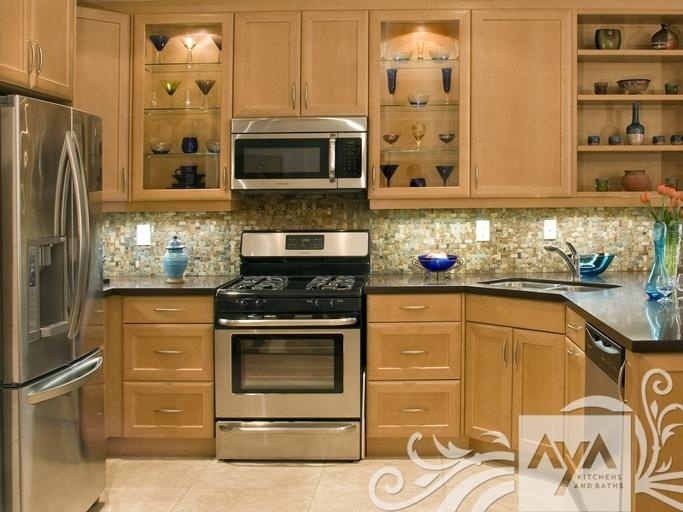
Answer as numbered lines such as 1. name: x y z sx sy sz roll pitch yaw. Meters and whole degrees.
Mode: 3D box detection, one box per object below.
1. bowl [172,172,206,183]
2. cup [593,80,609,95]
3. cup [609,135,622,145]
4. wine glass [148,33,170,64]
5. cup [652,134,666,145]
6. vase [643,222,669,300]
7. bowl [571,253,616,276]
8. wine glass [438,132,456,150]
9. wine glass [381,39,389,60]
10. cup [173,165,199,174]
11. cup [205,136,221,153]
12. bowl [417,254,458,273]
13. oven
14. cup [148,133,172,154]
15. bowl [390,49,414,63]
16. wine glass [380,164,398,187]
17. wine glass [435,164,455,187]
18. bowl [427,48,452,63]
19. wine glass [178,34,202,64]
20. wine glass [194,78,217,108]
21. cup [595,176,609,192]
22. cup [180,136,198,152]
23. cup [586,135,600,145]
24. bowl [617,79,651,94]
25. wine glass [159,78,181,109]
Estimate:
1. bowl: -0.986 -0.506 4.638 0.114 0.076 0.116 0 5 0
2. cup: 1.667 -1.083 4.656 0.108 0.083 0.097 2 2 0
3. cup: 1.769 -0.756 4.642 0.067 0.048 0.067 1 1 0
4. wine glass: -1.175 -1.372 4.739 0.166 0.185 0.157 -2 6 -1
5. cup: 2.053 -0.752 4.627 0.080 0.054 0.080 0 6 0
6. vase: 1.629 0.022 3.682 0.114 0.400 0.142 0 5 23
7. bowl: 1.599 0.058 4.552 0.251 0.141 0.129 -5 6 -29
8. wine glass: 0.687 -0.748 4.651 0.107 0.104 0.101 0 -3 12
9. wine glass: 0.283 -1.315 4.582 0.070 0.132 0.024 -3 5 -5
10. cup: -0.999 -0.563 4.656 0.093 0.057 0.057 -2 1 -10
11. cup: -0.827 -0.721 4.636 0.096 0.065 0.093 0 0 0
12. bowl: 0.625 0.043 4.614 0.264 0.124 0.165 -2 5 -1
13. oven: -0.240 0.739 4.504 0.966 0.623 0.664 -2 -6 14
14. cup: -1.168 -0.730 4.636 0.120 0.074 0.118 0 2 0
15. bowl: 0.389 -1.279 4.590 0.097 0.046 0.097 -1 4 0
16. wine glass: 0.304 -0.532 4.682 0.135 0.150 0.123 -1 0 -5
17. wine glass: 0.670 -0.536 4.664 0.132 0.125 0.104 -2 4 -5
18. bowl: 0.634 -1.281 4.586 0.100 0.049 0.098 0 2 0
19. wine glass: -0.986 -1.373 4.753 0.173 0.196 0.169 -1 3 -17
20. wine glass: -0.873 -1.082 4.754 0.171 0.195 0.167 -1 5 1
21. cup: 1.715 -0.471 4.710 0.110 0.102 0.107 1 1 0
22. cup: -0.976 -0.718 4.593 0.099 0.091 0.097 1 5 0
23. cup: 1.631 -0.748 4.656 0.077 0.053 0.075 0 6 0
24. bowl: 1.877 -1.090 4.626 0.184 0.097 0.110 1 6 28
25. wine glass: -1.110 -1.058 4.673 0.160 0.186 0.160 -1 -3 -7
